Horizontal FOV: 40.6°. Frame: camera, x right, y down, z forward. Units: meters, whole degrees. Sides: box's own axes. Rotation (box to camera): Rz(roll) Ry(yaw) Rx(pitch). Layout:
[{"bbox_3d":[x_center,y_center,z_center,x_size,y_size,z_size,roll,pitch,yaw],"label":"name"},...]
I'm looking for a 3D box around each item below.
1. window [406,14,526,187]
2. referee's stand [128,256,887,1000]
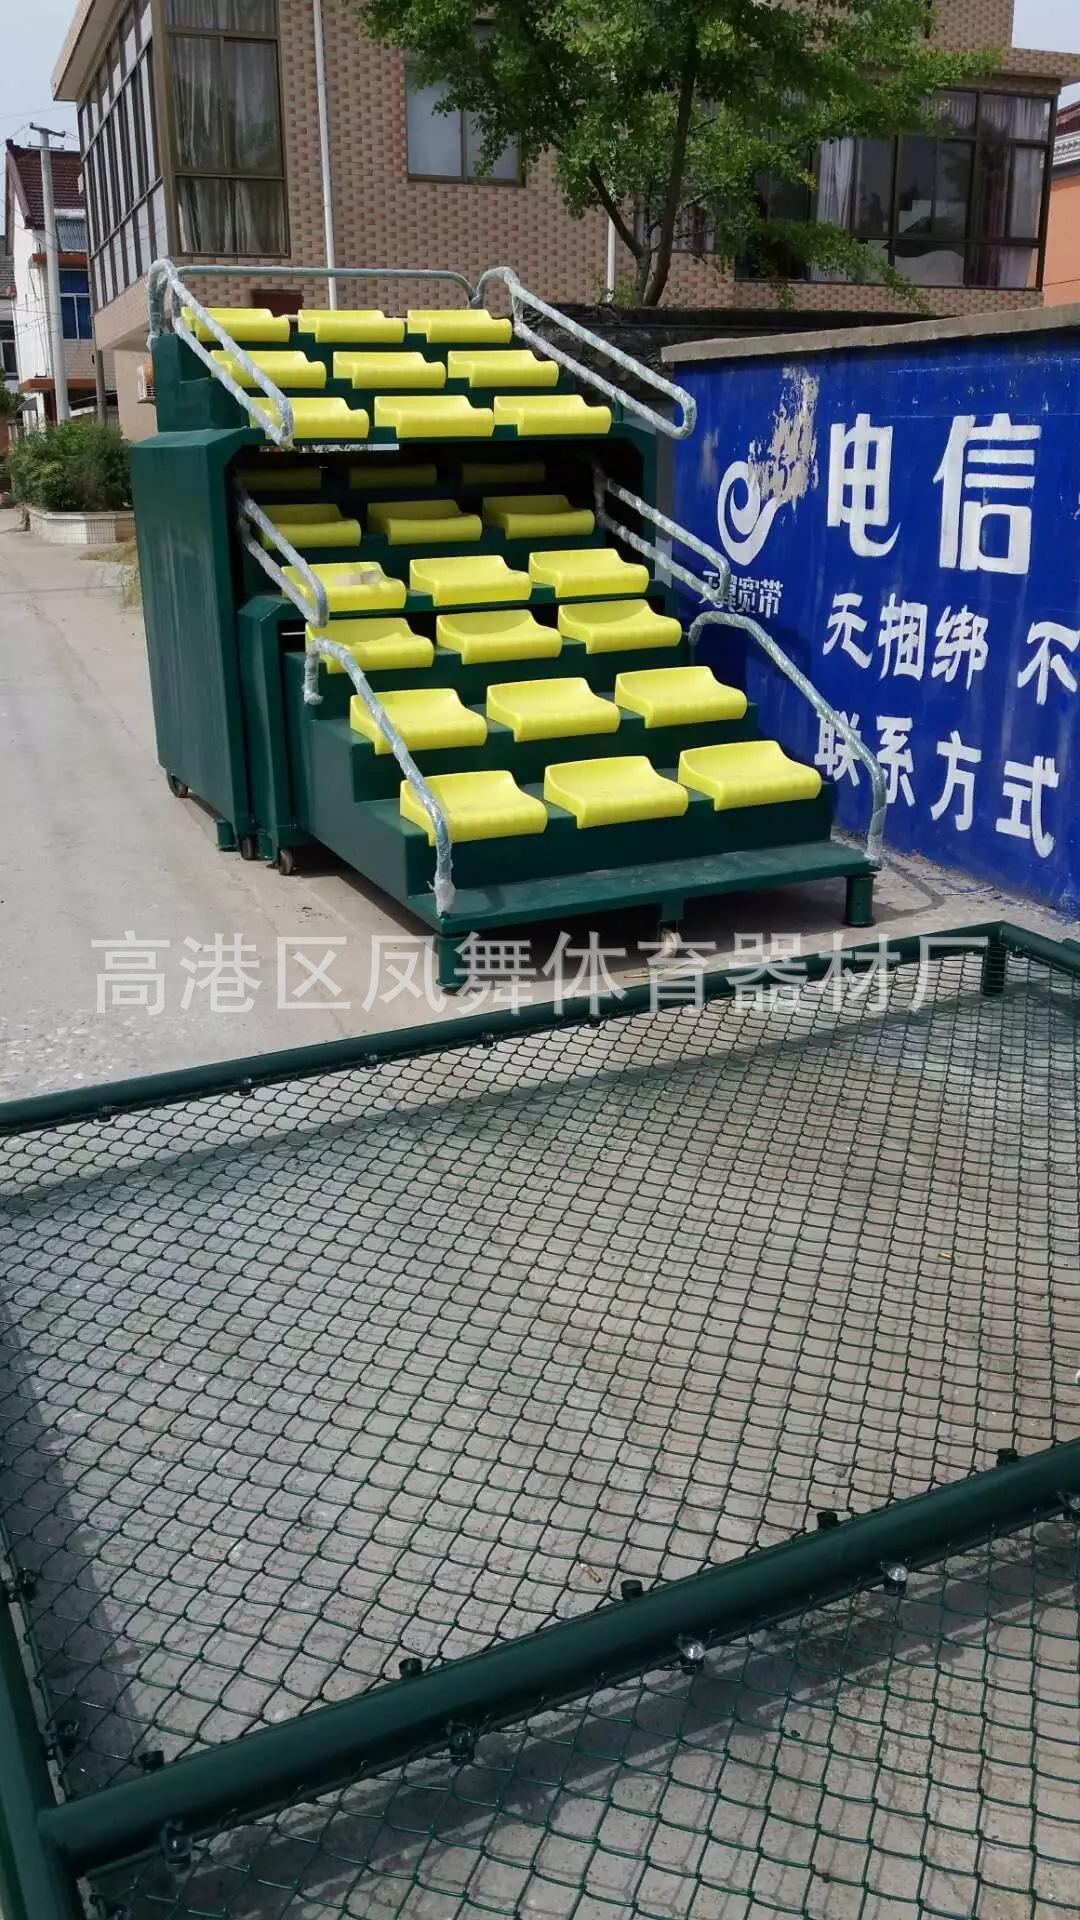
[{"bbox_3d":[-1.020,-10.761,18.901,1.573,1.809,0.094,-1,-17,-9],"label":"window"},{"bbox_3d":[0.049,-1.734,7.073,2.642,3.541,4.197,-10,27,-26],"label":"referee's stand"}]
